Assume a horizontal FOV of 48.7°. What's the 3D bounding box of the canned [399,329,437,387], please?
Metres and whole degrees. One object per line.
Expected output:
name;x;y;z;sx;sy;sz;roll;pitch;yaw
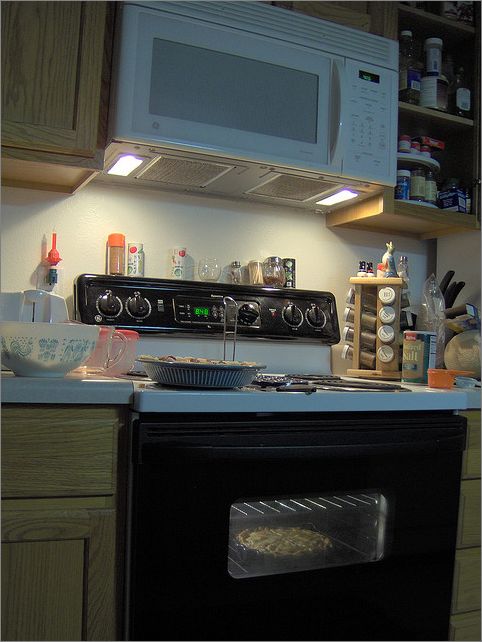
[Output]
canned;0.472;0.095;1.533;0.124;0.199;0.127;0;-1;10

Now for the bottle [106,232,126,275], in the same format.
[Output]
bottle;-0.377;-0.202;1.614;0.057;0.123;0.076;-1;4;-18

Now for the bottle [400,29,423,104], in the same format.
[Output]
bottle;0.595;-0.899;1.902;0.077;0.258;0.144;2;4;17

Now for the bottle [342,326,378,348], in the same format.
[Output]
bottle;0.383;0.056;1.742;0.107;0.039;0.037;16;-1;43

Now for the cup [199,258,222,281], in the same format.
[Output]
cup;-0.102;-0.160;1.692;0.067;0.066;0.065;-1;-1;0

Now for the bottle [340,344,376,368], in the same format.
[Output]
bottle;0.380;0.117;1.737;0.113;0.041;0.039;26;0;36

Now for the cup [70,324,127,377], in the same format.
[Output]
cup;-0.295;0.072;1.138;0.126;0.090;0.079;5;-3;-45

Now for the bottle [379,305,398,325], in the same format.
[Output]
bottle;0.445;-0.017;1.636;0.051;0.050;0.051;-2;-3;24

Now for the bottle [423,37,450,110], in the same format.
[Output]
bottle;0.686;-0.885;1.910;0.087;0.265;0.089;0;4;0

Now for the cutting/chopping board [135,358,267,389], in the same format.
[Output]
cutting/chopping board;-0.080;0.099;0.965;0.227;0.061;0.124;1;4;0

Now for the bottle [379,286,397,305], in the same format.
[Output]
bottle;0.445;-0.078;1.644;0.049;0.048;0.046;8;-4;19

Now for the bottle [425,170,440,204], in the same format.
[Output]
bottle;0.670;-0.472;1.891;0.102;0.123;0.033;-3;5;-43

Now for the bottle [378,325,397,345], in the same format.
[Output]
bottle;0.440;0.047;1.644;0.051;0.050;0.049;30;10;25

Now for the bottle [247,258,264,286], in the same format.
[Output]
bottle;0.044;-0.161;1.796;0.074;0.108;0.074;-2;1;0

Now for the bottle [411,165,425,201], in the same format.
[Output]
bottle;0.610;-0.475;1.859;0.050;0.113;0.054;0;4;0
